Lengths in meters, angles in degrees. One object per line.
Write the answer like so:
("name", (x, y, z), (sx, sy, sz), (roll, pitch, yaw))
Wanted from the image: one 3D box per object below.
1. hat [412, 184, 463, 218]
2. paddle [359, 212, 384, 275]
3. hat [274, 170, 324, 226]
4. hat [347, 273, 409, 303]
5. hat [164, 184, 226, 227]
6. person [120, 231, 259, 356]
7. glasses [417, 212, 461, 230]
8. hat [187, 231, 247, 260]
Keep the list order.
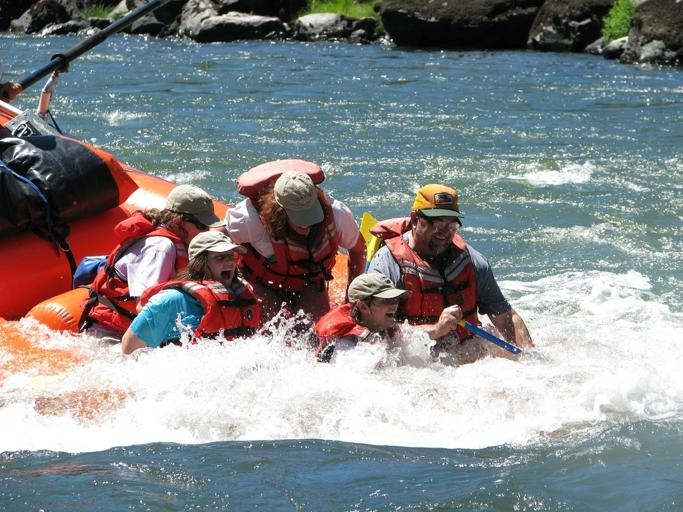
("hat", (0.731, -0.441, 8.762), (0.396, 0.237, 0.520), (-3, 10, -29))
("paddle", (0.238, -0.143, 9.546), (0.091, 0.165, 0.476), (30, 31, -32))
("hat", (-0.314, -0.484, 8.725), (0.357, 0.237, 0.474), (-19, 55, -17))
("hat", (0.250, 0.239, 8.326), (0.352, 0.148, 0.211), (-1, 1, 10))
("hat", (-1.103, -0.416, 8.791), (0.482, 0.218, 0.326), (18, 15, 14))
("person", (-0.987, 0.366, 8.491), (0.670, 1.049, 1.229), (-4, -4, 37))
("glasses", (0.735, -0.261, 8.663), (0.337, 0.122, 0.106), (4, 18, 5))
("hat", (-0.923, -0.076, 8.249), (0.302, 0.120, 0.207), (-6, 0, 12))
